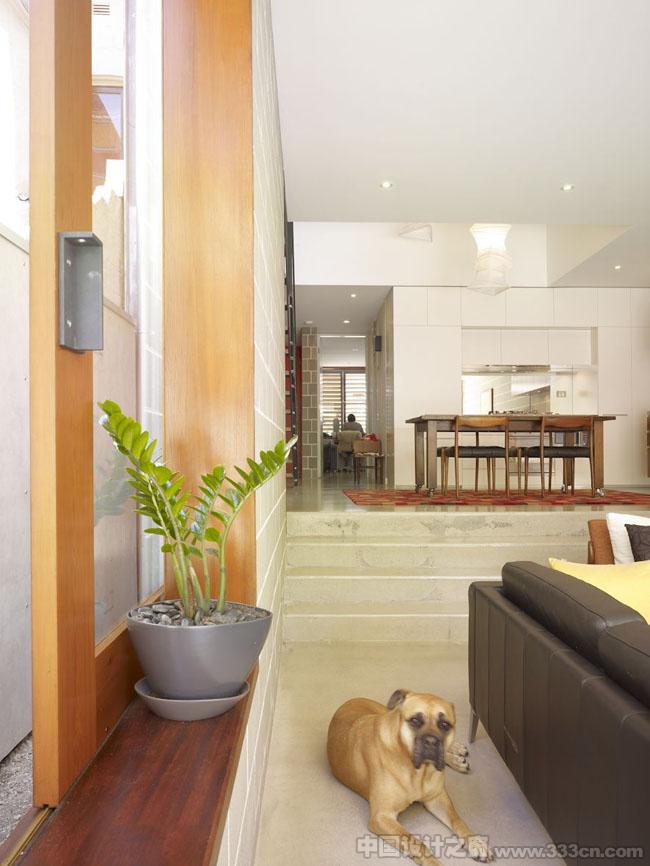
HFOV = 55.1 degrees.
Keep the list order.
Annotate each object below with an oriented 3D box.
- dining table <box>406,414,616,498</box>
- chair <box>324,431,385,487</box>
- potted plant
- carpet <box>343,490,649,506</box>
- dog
[{"bbox_3d":[1.857,0.221,6.562,1.997,0.793,1.868,1,-2,-19],"label":"dining table"},{"bbox_3d":[0.492,0.447,10.479,0.610,0.818,1.511,0,-2,2],"label":"chair"},{"bbox_3d":[-0.190,0.201,1.037,0.168,0.428,0.350,-10,-19,23],"label":"potted plant"},{"bbox_3d":[1.516,0.593,5.848,2.592,0.088,1.877,0,-2,-10],"label":"carpet"},{"bbox_3d":[0.204,0.834,1.735,0.269,0.296,0.466,-4,13,-19],"label":"dog"}]
